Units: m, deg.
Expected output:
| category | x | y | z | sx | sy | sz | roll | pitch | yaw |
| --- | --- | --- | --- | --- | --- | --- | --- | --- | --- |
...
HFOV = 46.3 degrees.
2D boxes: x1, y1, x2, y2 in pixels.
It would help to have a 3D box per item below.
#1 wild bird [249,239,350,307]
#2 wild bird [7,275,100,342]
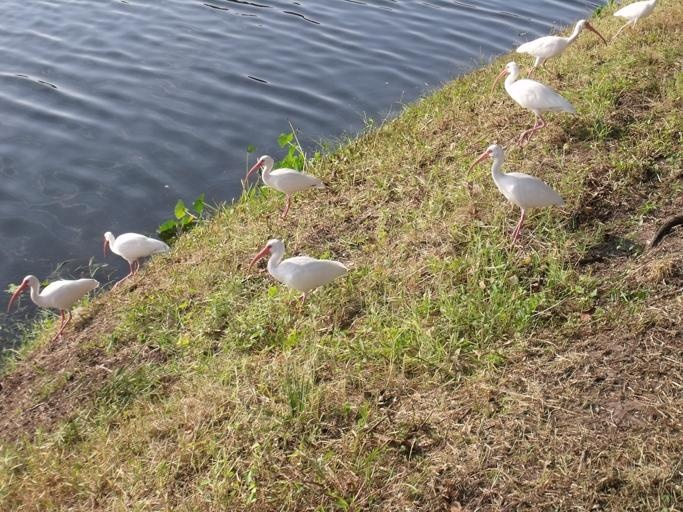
| category | x | y | z | sx | sy | sz | roll | pitch | yaw |
| --- | --- | --- | --- | --- | --- | --- | --- | --- | --- |
| wild bird | -0.514 | 0.180 | 10.944 | 1.605 | 1.048 | 0.626 | -6 | 11 | 10 |
| wild bird | -4.386 | 0.836 | 12.112 | 0.865 | 0.270 | 0.592 | -16 | 83 | 5 |
